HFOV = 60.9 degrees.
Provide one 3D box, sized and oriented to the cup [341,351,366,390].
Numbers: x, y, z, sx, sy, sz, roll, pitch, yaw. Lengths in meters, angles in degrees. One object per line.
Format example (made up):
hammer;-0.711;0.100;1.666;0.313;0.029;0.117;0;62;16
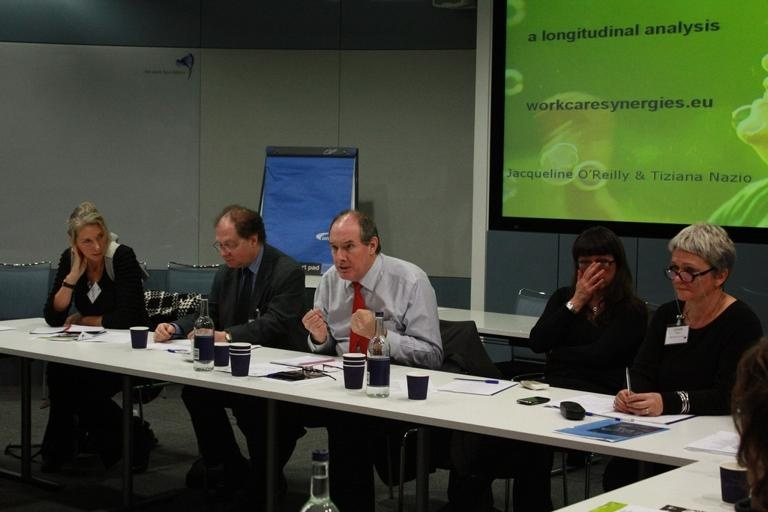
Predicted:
cup;-0.142;0.560;3.179;0.146;0.159;0.149;0;-5;0

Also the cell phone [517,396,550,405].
cell phone;0.703;0.679;3.064;0.144;0.015;0.079;-1;2;-24

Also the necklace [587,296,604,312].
necklace;1.225;0.279;3.769;0.065;0.075;0.084;-7;-17;17

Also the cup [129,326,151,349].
cup;-1.465;0.487;3.939;0.118;0.097;0.127;1;-6;0

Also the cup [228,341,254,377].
cup;-0.734;0.529;3.341;0.146;0.161;0.149;0;-3;0

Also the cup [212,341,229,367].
cup;-0.867;0.530;3.550;0.105;0.108;0.113;0;-4;0

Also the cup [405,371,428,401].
cup;0.163;0.609;3.100;0.098;0.119;0.132;0;12;2

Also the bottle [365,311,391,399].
bottle;-0.029;0.472;3.157;0.112;0.368;0.249;-1;12;-2
